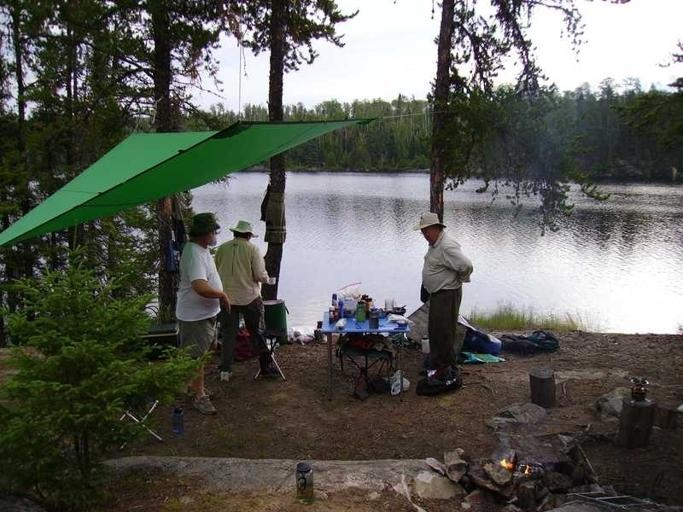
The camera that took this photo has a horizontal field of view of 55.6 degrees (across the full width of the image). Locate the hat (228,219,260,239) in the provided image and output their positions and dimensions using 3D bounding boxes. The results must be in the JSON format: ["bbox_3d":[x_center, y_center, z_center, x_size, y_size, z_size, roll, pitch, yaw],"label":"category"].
[{"bbox_3d":[-1.374,-0.383,9.144,0.257,0.137,0.320,20,1,-5],"label":"hat"}]

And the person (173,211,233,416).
[{"bbox_3d":[-1.749,0.364,8.040,0.612,1.767,0.635,-5,15,-20],"label":"person"}]

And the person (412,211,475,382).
[{"bbox_3d":[1.404,0.555,9.054,0.660,2.308,0.845,-1,14,-6],"label":"person"}]

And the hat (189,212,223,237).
[{"bbox_3d":[-1.690,-0.425,8.104,0.314,0.199,0.324,1,8,19],"label":"hat"}]

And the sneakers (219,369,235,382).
[{"bbox_3d":[-1.658,1.686,9.280,0.145,0.269,0.158,-4,-4,28],"label":"sneakers"}]

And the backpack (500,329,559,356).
[{"bbox_3d":[3.103,1.434,10.698,0.935,0.204,0.479,-2,15,-11],"label":"backpack"}]

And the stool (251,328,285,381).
[{"bbox_3d":[-1.032,1.398,9.403,0.460,0.637,0.490,0,-4,21],"label":"stool"}]

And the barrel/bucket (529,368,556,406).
[{"bbox_3d":[2.587,1.694,8.508,0.389,0.424,0.366,-5,10,1],"label":"barrel/bucket"}]

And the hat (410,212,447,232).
[{"bbox_3d":[1.220,-0.489,8.999,0.473,0.218,0.413,-12,5,14],"label":"hat"}]

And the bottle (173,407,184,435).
[{"bbox_3d":[-1.998,1.946,7.880,0.143,0.305,0.297,-4,15,-16],"label":"bottle"}]

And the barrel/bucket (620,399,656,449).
[{"bbox_3d":[3.365,1.823,7.300,0.312,0.552,0.301,3,16,-1],"label":"barrel/bucket"}]

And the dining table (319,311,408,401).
[{"bbox_3d":[0.348,1.280,9.370,1.220,1.193,1.324,0,15,-2],"label":"dining table"}]

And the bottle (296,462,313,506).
[{"bbox_3d":[-0.383,2.324,6.762,0.184,0.347,0.251,0,14,-4],"label":"bottle"}]
